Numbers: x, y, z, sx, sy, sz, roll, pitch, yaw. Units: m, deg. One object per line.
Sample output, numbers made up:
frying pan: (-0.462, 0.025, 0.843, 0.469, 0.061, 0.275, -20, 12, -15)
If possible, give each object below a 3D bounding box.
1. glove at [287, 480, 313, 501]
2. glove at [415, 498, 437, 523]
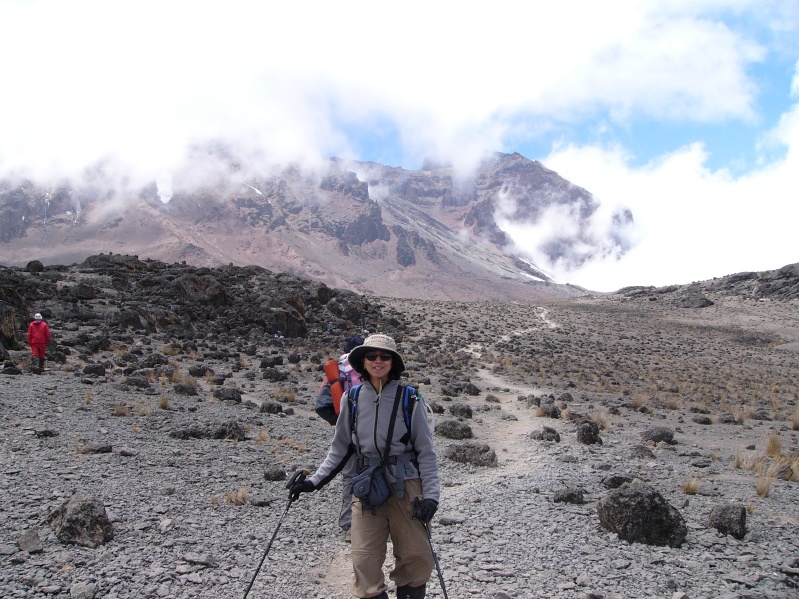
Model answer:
glove: (-1.703, 3.249, 11.262, 0.416, 0.167, 0.318, -19, 22, 27)
glove: (0.401, 3.397, 10.834, 0.343, 0.348, 0.385, 1, -15, -1)
